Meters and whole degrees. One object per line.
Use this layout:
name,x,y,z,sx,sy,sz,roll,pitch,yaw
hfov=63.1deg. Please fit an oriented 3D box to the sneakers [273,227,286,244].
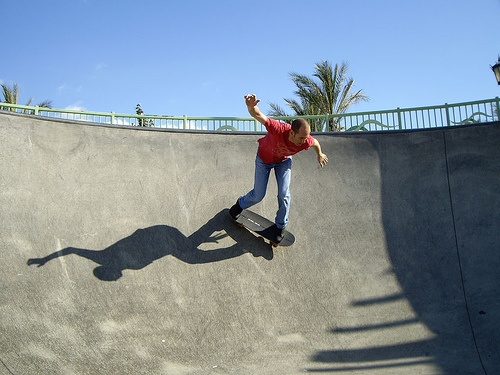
sneakers,0.577,0.969,8.244,0.127,0.420,0.153,-6,0,14
